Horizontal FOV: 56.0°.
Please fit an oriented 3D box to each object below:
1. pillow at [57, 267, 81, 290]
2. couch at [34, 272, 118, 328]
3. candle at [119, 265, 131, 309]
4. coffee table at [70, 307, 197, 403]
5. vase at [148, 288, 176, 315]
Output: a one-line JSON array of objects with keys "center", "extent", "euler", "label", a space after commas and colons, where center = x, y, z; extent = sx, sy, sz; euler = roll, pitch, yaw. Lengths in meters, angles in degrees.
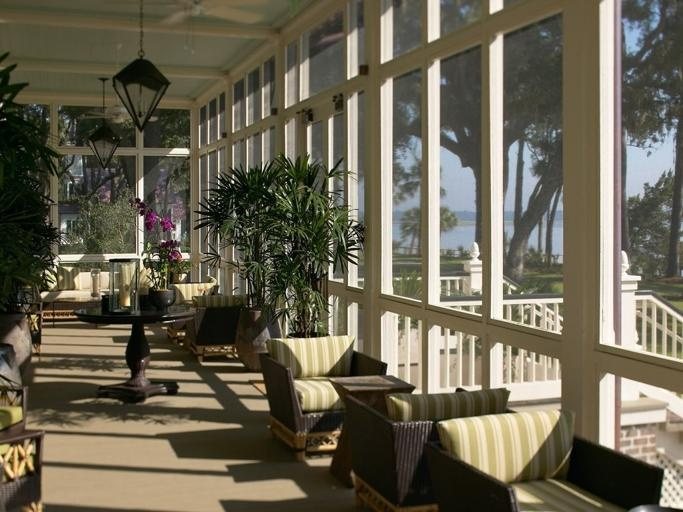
[{"center": [-5.462, 0.454, 12.804], "extent": [0.368, 0.448, 0.146], "euler": [2, -17, -27], "label": "pillow"}, {"center": [-5.028, 0.792, 12.089], "extent": [1.434, 1.038, 1.579], "euler": [0, 1, -14], "label": "couch"}, {"center": [-2.199, 0.306, 6.533], "extent": [0.121, 0.442, 0.135], "euler": [-2, 5, -21], "label": "candle"}, {"center": [-2.126, 1.049, 6.678], "extent": [0.952, 0.809, 1.012], "euler": [-1, -4, 22], "label": "coffee table"}, {"center": [-1.920, 0.487, 6.873], "extent": [0.206, 0.207, 0.241], "euler": [1, -6, -9], "label": "vase"}]
